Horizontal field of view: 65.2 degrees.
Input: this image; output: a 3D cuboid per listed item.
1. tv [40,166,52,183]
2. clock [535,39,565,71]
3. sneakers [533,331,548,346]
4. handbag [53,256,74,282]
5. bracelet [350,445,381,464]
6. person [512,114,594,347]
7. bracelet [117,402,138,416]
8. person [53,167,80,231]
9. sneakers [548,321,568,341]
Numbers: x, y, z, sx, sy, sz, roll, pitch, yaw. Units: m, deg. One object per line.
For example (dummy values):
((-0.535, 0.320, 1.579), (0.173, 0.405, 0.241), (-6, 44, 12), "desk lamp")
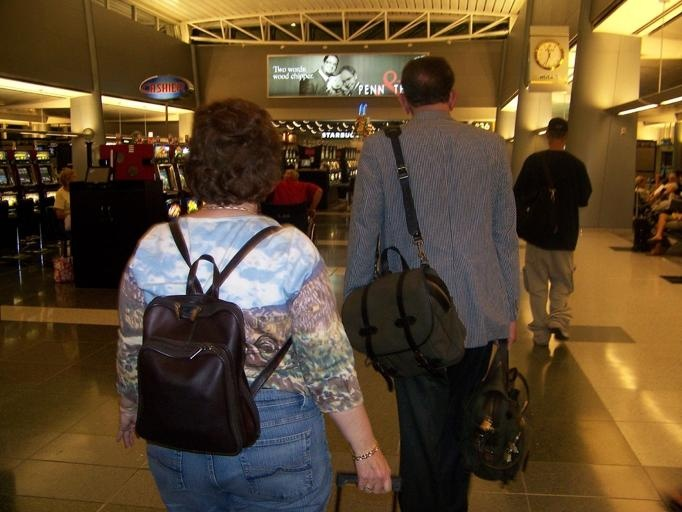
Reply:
((-7.020, -1.955, 12.788), (0.184, 0.409, 0.442), (-2, 11, -7), "tv")
((3.827, -3.684, 9.777), (0.471, 0.551, 0.173), (4, 11, 20), "clock")
((1.568, 0.647, 4.162), (0.085, 0.117, 0.041), (11, 1, 11), "sneakers")
((-3.429, 0.165, 6.637), (0.263, 0.318, 0.243), (-4, 11, -17), "handbag")
((0.059, 0.523, 1.407), (0.048, 0.013, 0.049), (-20, -6, 12), "bracelet")
((1.574, -0.163, 4.055), (0.535, 1.726, 0.306), (2, 11, 11), "person")
((-0.621, 0.443, 1.569), (0.047, 0.039, 0.047), (11, 15, 43), "bracelet")
((-3.843, -0.818, 7.482), (0.287, 0.768, 0.986), (-6, 12, -25), "person")
((1.704, 0.585, 4.178), (0.123, 0.151, 0.194), (0, -9, 18), "sneakers")
